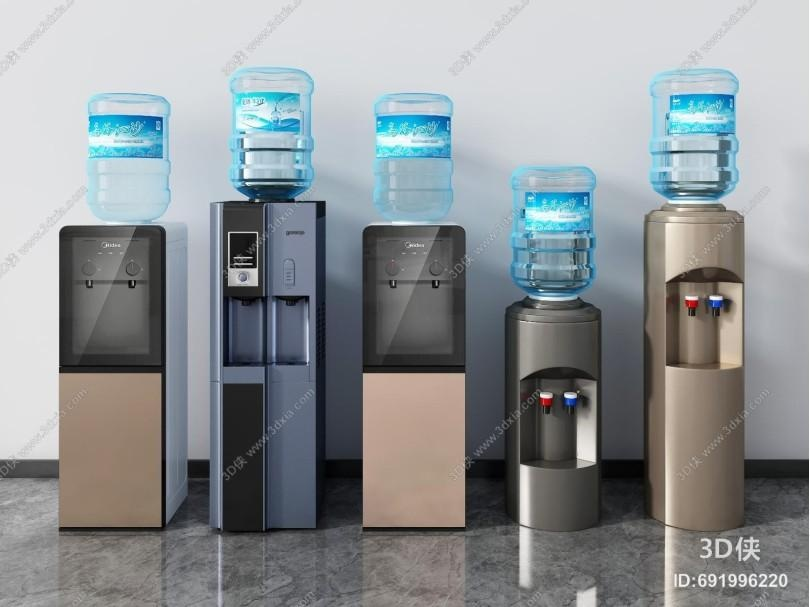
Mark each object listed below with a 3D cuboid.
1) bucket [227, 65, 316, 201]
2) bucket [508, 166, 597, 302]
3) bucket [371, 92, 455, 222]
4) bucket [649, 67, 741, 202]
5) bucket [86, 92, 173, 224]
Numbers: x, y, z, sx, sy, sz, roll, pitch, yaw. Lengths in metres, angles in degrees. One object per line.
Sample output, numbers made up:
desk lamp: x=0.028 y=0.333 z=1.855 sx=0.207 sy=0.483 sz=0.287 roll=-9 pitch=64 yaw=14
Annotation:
bucket: x=-0.643 y=-0.843 z=3.994 sx=0.391 sy=0.742 sz=0.533 roll=0 pitch=-1 yaw=-7
bucket: x=0.704 y=-0.370 z=4.061 sx=0.425 sy=0.706 sz=0.607 roll=0 pitch=-1 yaw=12
bucket: x=0.037 y=-0.738 z=4.030 sx=0.395 sy=0.691 sz=0.585 roll=0 pitch=-1 yaw=1
bucket: x=1.365 y=-0.835 z=3.978 sx=0.400 sy=0.723 sz=0.518 roll=0 pitch=-1 yaw=20
bucket: x=-1.345 y=-0.719 z=4.039 sx=0.405 sy=0.700 sz=0.576 roll=0 pitch=-1 yaw=-16
